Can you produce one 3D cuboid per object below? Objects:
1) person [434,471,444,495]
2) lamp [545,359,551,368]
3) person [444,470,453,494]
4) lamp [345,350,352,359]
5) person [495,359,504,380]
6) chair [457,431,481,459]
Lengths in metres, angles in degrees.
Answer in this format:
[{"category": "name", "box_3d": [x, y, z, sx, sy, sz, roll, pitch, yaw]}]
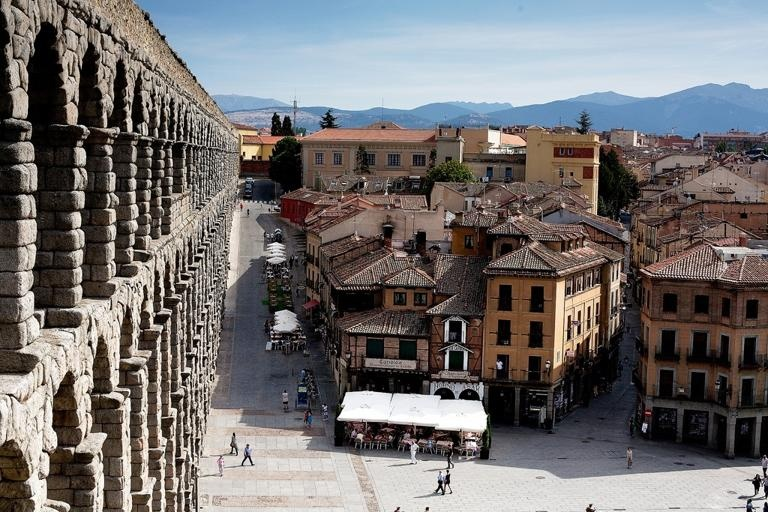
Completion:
[{"category": "person", "box_3d": [2.784, 11.313, 54.174, 0.527, 0.964, 0.999, 4, 10, 3]}, {"category": "lamp", "box_3d": [10.093, 6.555, 66.404, 0.340, 0.437, 0.439, 5, -41, 2]}, {"category": "person", "box_3d": [3.230, 11.250, 54.489, 0.463, 1.076, 1.353, 4, 10, 4]}, {"category": "lamp", "box_3d": [-2.273, 5.984, 66.290, 0.422, 0.600, 0.409, 3, 12, 8]}, {"category": "person", "box_3d": [7.168, 6.851, 66.471, 0.570, 1.184, 0.331, 4, 10, -1]}, {"category": "chair", "box_3d": [4.723, 10.583, 60.452, 0.925, 0.845, 1.582, 1, 1, 5]}]
